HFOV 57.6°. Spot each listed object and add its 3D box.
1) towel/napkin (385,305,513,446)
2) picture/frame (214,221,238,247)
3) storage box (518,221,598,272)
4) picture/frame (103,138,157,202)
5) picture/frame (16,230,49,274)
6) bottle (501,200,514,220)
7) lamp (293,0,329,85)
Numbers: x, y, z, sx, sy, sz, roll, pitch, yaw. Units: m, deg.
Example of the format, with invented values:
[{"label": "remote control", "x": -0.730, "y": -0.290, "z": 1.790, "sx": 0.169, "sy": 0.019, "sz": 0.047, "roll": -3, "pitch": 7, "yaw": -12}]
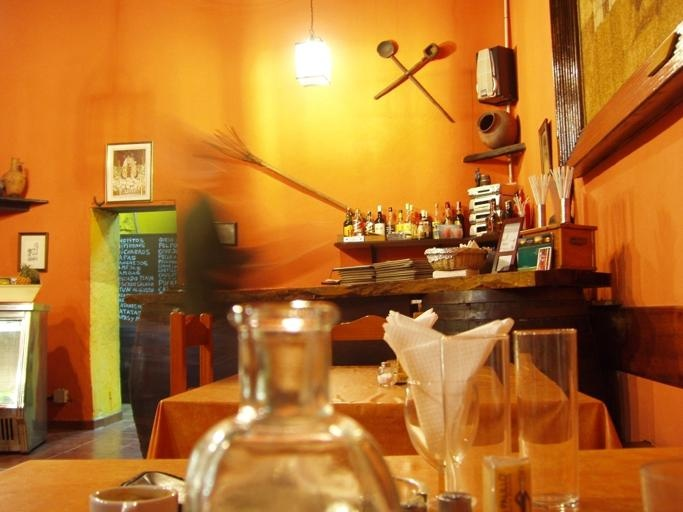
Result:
[{"label": "towel/napkin", "x": 0.141, "y": 0.171, "z": 0.956, "sx": 0.180, "sy": 0.226, "sz": 0.164, "roll": 0, "pitch": -2, "yaw": 7}, {"label": "picture/frame", "x": -1.013, "y": -0.206, "z": 5.516, "sx": 0.183, "sy": 0.206, "sz": 0.049, "roll": -1, "pitch": 0, "yaw": 19}, {"label": "storage box", "x": 1.113, "y": -0.061, "z": 3.098, "sx": 0.220, "sy": 0.196, "sz": 0.394, "roll": -2, "pitch": 1, "yaw": -21}, {"label": "picture/frame", "x": -1.950, "y": -0.780, "z": 5.713, "sx": 0.559, "sy": 0.709, "sz": 0.053, "roll": -1, "pitch": -8, "yaw": 4}, {"label": "picture/frame", "x": -2.837, "y": -0.033, "z": 5.677, "sx": 0.375, "sy": 0.506, "sz": 0.036, "roll": -1, "pitch": -3, "yaw": 8}, {"label": "bottle", "x": 1.249, "y": -0.362, "z": 4.655, "sx": 0.097, "sy": 0.141, "sz": 0.174, "roll": -4, "pitch": -1, "yaw": 14}, {"label": "lamp", "x": -0.258, "y": -1.865, "z": 5.315, "sx": 0.330, "sy": 0.623, "sz": 0.621, "roll": -4, "pitch": -1, "yaw": -4}]
